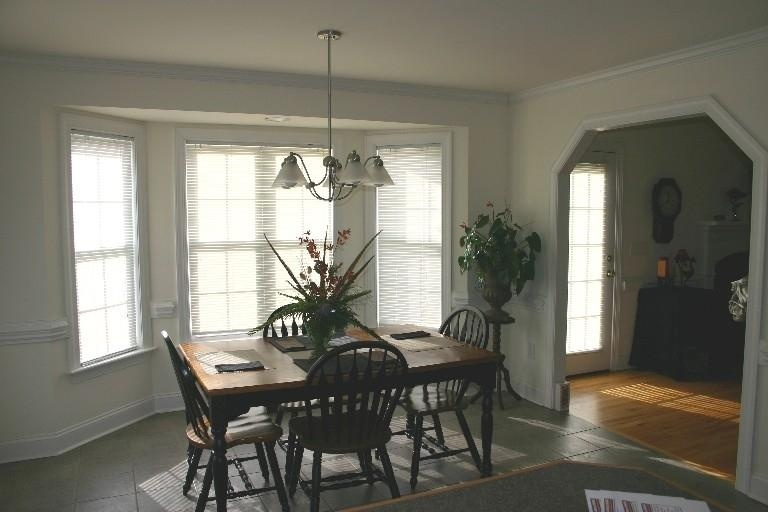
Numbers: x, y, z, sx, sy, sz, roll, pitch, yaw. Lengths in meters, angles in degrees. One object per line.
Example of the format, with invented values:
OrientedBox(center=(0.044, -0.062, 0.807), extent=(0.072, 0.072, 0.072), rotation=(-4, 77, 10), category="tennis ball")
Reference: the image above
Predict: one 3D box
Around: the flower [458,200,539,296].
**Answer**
OrientedBox(center=(1.163, -0.221, 5.626), extent=(0.798, 0.721, 0.730), rotation=(4, -22, 21), category="flower")

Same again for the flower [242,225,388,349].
OrientedBox(center=(-0.480, 0.176, 4.669), extent=(1.093, 1.029, 1.271), rotation=(5, 7, 39), category="flower")

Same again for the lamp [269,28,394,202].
OrientedBox(center=(-0.410, -1.087, 4.380), extent=(1.048, 1.212, 0.953), rotation=(-2, 13, -9), category="lamp")

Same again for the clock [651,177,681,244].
OrientedBox(center=(3.451, -0.551, 6.814), extent=(0.413, 0.797, 0.162), rotation=(-5, 14, -20), category="clock")

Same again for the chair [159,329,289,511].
OrientedBox(center=(-1.169, 1.226, 4.138), extent=(0.729, 1.264, 0.857), rotation=(-6, 13, -24), category="chair")

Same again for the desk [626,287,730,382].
OrientedBox(center=(3.637, 0.882, 6.863), extent=(0.980, 1.009, 0.941), rotation=(-5, 4, 5), category="desk")

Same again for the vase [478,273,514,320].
OrientedBox(center=(1.160, 0.422, 5.803), extent=(0.410, 0.479, 0.367), rotation=(0, -2, -6), category="vase")
